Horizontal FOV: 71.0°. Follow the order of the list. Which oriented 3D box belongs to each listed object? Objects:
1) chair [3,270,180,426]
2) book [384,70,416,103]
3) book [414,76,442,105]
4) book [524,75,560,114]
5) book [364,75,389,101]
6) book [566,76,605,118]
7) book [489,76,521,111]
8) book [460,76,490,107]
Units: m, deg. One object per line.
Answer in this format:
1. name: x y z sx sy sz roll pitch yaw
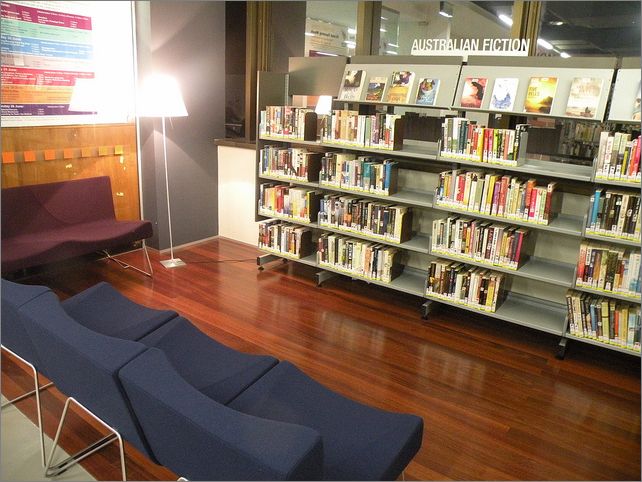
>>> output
1. chair: -1.247 0.578 2.396 0.436 0.737 0.671 22 31 5
2. book: 0.699 -1.381 3.985 0.075 0.291 0.309 14 -2 -34
3. book: 0.918 -1.294 3.855 0.234 0.299 0.035 14 1 27
4. book: 1.689 -1.122 3.434 0.259 0.349 0.039 19 10 31
5. book: 0.508 -1.403 4.103 0.235 0.304 0.033 16 5 34
6. book: 1.945 -1.062 3.303 0.279 0.372 0.043 14 -1 30
7. book: 1.455 -1.170 3.553 0.246 0.348 0.027 15 10 29
8. book: 1.256 -1.222 3.659 0.233 0.314 0.034 18 9 35
